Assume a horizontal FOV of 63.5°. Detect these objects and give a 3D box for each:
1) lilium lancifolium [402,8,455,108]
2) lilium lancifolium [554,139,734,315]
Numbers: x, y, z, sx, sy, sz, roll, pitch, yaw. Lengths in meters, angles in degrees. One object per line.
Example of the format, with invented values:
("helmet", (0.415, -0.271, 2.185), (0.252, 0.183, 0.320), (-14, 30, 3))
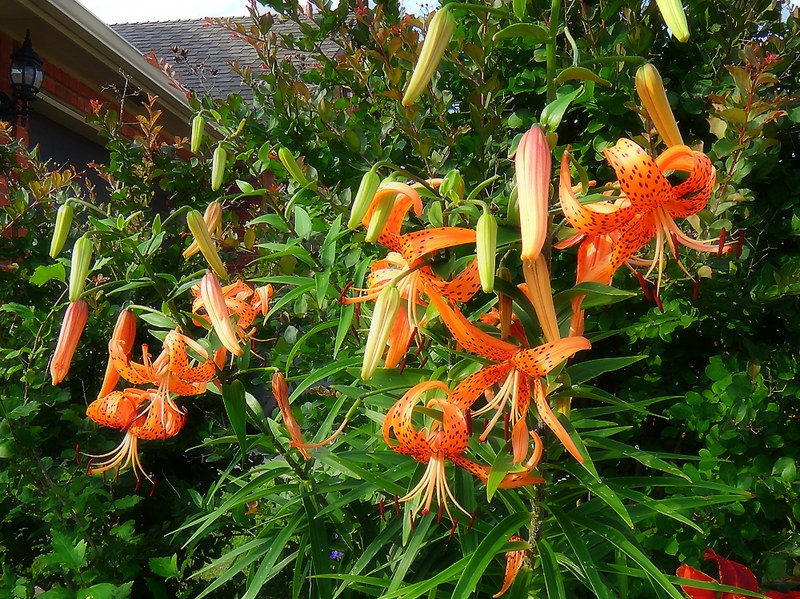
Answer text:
("lilium lancifolium", (0.057, -0.490, 1.300), (0.080, 0.235, 0.078), (3, 13, 25))
("lilium lancifolium", (0.513, -0.202, 1.396), (0.363, 0.283, 0.151), (-16, 3, -12))
